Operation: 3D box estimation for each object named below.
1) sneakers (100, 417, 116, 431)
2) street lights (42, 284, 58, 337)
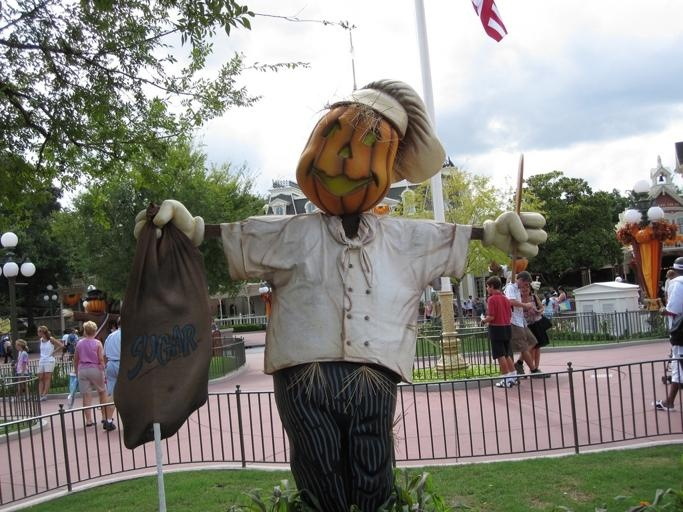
[{"bbox_3d":[-4.109,2.928,10.272,0.200,0.251,0.520,-5,1,-21],"label":"sneakers"},{"bbox_3d":[-19.045,3.691,38.121,0.892,3.679,0.965,12,15,25],"label":"street lights"}]
